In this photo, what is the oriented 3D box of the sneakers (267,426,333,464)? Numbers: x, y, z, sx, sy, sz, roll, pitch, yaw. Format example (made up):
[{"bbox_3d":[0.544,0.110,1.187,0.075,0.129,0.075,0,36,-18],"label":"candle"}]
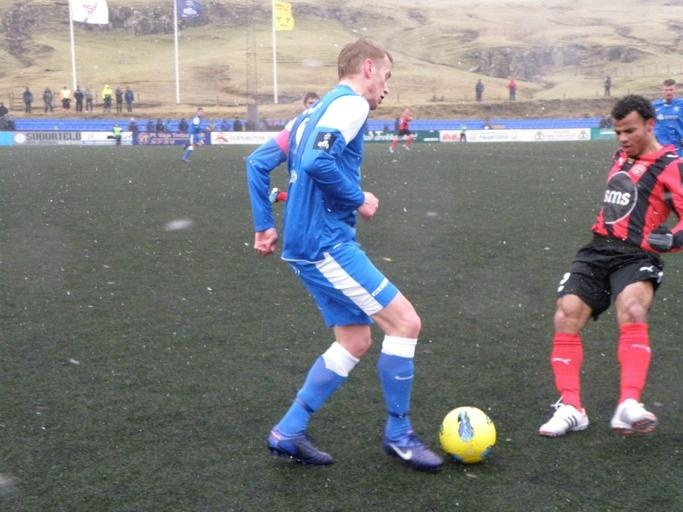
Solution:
[{"bbox_3d":[-0.312,1.381,6.777,0.574,0.244,0.188,16,-1,-5],"label":"sneakers"}]

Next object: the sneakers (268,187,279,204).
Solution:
[{"bbox_3d":[-0.522,-0.435,6.936,0.070,0.138,0.043,2,36,-21],"label":"sneakers"}]

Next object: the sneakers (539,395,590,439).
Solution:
[{"bbox_3d":[1.682,1.216,6.922,0.517,0.208,0.167,-10,8,-18],"label":"sneakers"}]

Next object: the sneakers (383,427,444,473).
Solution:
[{"bbox_3d":[0.508,1.400,6.762,0.530,0.197,0.188,18,12,19],"label":"sneakers"}]

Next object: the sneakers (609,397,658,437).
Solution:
[{"bbox_3d":[2.091,1.139,6.623,0.401,0.230,0.177,6,-27,-7],"label":"sneakers"}]

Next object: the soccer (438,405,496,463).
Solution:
[{"bbox_3d":[0.940,1.296,6.708,0.438,0.362,0.413,7,-22,21],"label":"soccer"}]

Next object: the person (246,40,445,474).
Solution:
[{"bbox_3d":[-0.050,-0.001,6.632,1.174,2.979,1.096,-4,18,-6],"label":"person"}]

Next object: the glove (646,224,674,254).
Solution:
[{"bbox_3d":[2.407,-0.114,6.949,0.179,0.188,0.251,3,16,16],"label":"glove"}]
